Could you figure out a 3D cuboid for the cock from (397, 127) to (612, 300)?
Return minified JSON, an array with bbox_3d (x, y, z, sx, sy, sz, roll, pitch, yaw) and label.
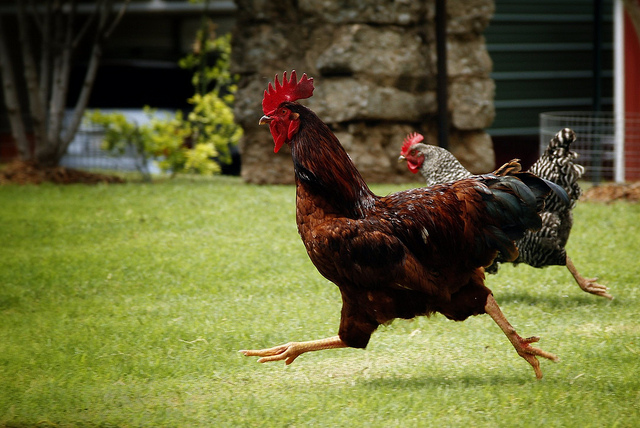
[{"bbox_3d":[1.748,-0.053,8.526,0.920,1.347,2.414,-24,19,-32],"label":"cock"}]
